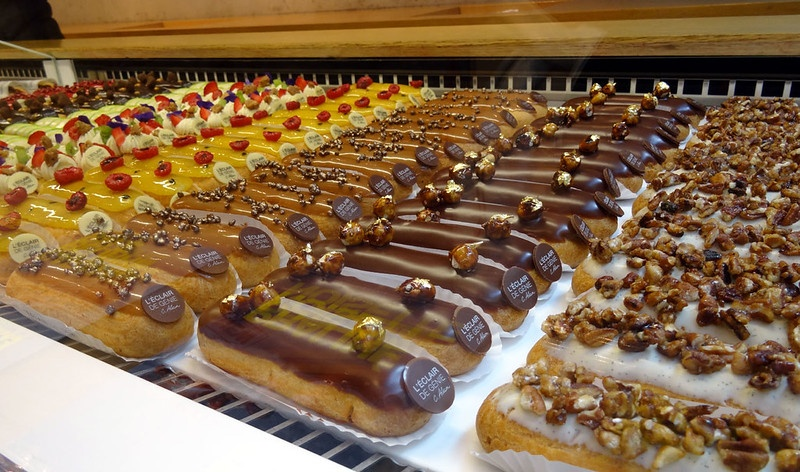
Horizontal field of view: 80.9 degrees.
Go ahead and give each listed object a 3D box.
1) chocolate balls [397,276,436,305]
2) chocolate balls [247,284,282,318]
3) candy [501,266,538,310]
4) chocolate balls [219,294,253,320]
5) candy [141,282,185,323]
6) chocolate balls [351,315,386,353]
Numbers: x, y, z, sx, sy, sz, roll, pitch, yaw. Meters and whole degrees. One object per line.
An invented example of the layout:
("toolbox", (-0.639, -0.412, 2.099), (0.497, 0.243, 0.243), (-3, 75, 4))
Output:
("chocolate balls", (0.063, 0.232, 1.976), (0.139, 0.067, 0.100), (5, 16, -10))
("chocolate balls", (-0.577, 0.279, 1.966), (0.131, 0.133, 0.079), (-1, -11, -13))
("candy", (0.523, 0.239, 2.091), (0.147, 0.154, 0.148), (14, 28, 29))
("chocolate balls", (-0.725, 0.324, 2.065), (0.121, 0.069, 0.121), (-2, 38, 1))
("candy", (-1.092, 0.320, 2.139), (0.169, 0.145, 0.153), (13, 27, 27))
("chocolate balls", (-0.131, 0.392, 1.822), (0.120, 0.111, 0.096), (9, 26, 19))
